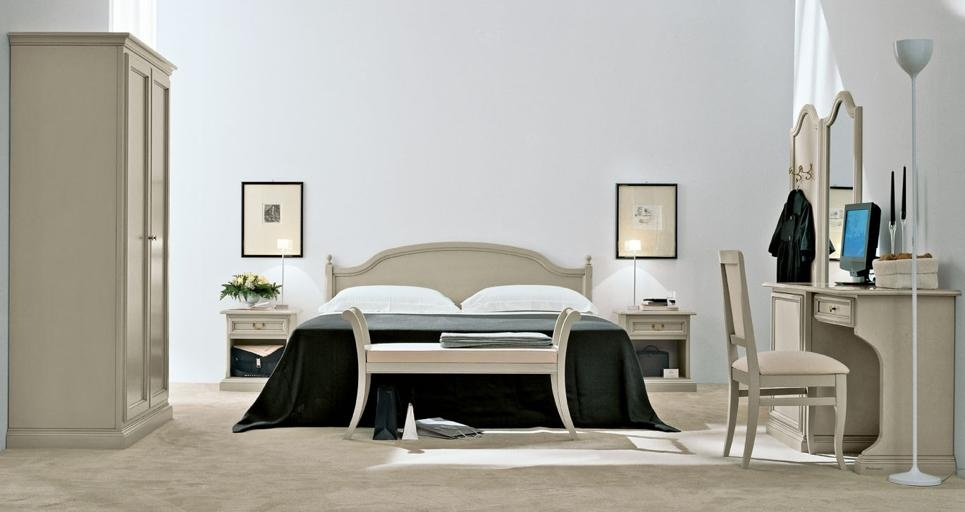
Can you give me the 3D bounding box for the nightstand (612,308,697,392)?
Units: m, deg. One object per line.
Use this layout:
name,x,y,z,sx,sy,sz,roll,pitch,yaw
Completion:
nightstand,2.078,1.017,8.920,1.221,1.277,0.894,-1,-1,-2

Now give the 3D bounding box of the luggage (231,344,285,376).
luggage,-2.773,1.229,8.645,0.624,0.325,0.720,0,-7,38

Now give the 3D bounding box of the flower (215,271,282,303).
flower,-2.706,0.376,8.590,0.473,0.235,0.449,0,-5,-2

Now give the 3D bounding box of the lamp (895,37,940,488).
lamp,3.652,0.044,6.233,0.365,3.960,0.641,-2,0,39

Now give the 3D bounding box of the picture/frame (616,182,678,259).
picture/frame,1.975,-0.421,8.866,0.991,1.076,0.075,1,0,-1

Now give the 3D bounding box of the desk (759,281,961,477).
desk,3.471,1.009,7.138,1.436,1.826,2.323,1,-2,-2

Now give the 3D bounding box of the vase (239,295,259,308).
vase,-2.717,0.520,8.664,0.173,0.124,0.164,0,-9,-2
